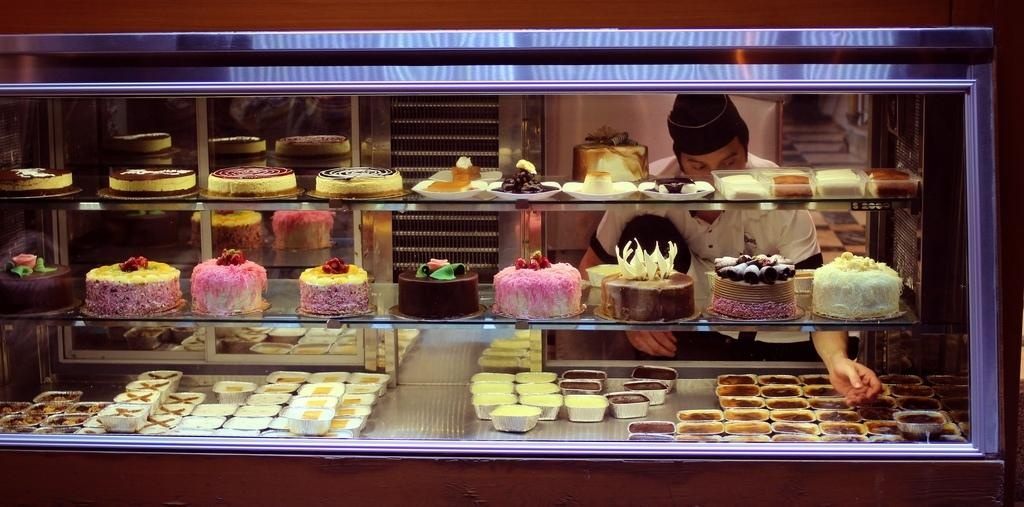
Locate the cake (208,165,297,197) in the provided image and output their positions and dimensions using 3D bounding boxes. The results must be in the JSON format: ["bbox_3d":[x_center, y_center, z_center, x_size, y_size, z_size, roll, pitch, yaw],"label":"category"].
[{"bbox_3d":[-1.470,-0.398,4.856,0.544,0.087,0.499,-7,12,-34],"label":"cake"}]

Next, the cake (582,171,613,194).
[{"bbox_3d":[0.454,-0.382,4.589,0.159,0.070,0.132,-4,12,-8],"label":"cake"}]

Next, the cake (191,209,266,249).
[{"bbox_3d":[-1.696,-0.136,5.114,0.343,0.146,0.332,-6,9,-43],"label":"cake"}]

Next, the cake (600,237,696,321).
[{"bbox_3d":[0.745,0.133,4.769,0.567,0.294,0.502,5,16,25],"label":"cake"}]

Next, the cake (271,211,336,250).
[{"bbox_3d":[-1.245,-0.146,5.074,0.320,0.143,0.311,6,8,37],"label":"cake"}]

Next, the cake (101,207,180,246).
[{"bbox_3d":[-2.241,-0.156,5.156,0.348,0.107,0.289,0,5,3],"label":"cake"}]

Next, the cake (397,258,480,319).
[{"bbox_3d":[-0.406,0.186,4.660,0.437,0.203,0.362,0,3,-8],"label":"cake"}]

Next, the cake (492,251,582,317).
[{"bbox_3d":[0.131,0.140,4.806,0.508,0.239,0.486,13,19,31],"label":"cake"}]

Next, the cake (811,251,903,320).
[{"bbox_3d":[1.940,0.159,4.734,0.514,0.256,0.454,2,16,21],"label":"cake"}]

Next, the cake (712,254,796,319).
[{"bbox_3d":[1.324,0.193,4.732,0.474,0.224,0.407,3,6,15],"label":"cake"}]

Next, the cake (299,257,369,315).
[{"bbox_3d":[-0.981,0.174,4.696,0.424,0.203,0.351,0,4,-3],"label":"cake"}]

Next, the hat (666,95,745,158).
[{"bbox_3d":[1.065,-0.735,4.774,0.402,0.244,0.355,-14,18,13],"label":"hat"}]

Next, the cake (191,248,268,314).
[{"bbox_3d":[-1.627,0.130,4.848,0.472,0.271,0.389,5,17,-14],"label":"cake"}]

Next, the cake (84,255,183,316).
[{"bbox_3d":[-2.087,0.168,4.742,0.485,0.192,0.400,0,3,-2],"label":"cake"}]
